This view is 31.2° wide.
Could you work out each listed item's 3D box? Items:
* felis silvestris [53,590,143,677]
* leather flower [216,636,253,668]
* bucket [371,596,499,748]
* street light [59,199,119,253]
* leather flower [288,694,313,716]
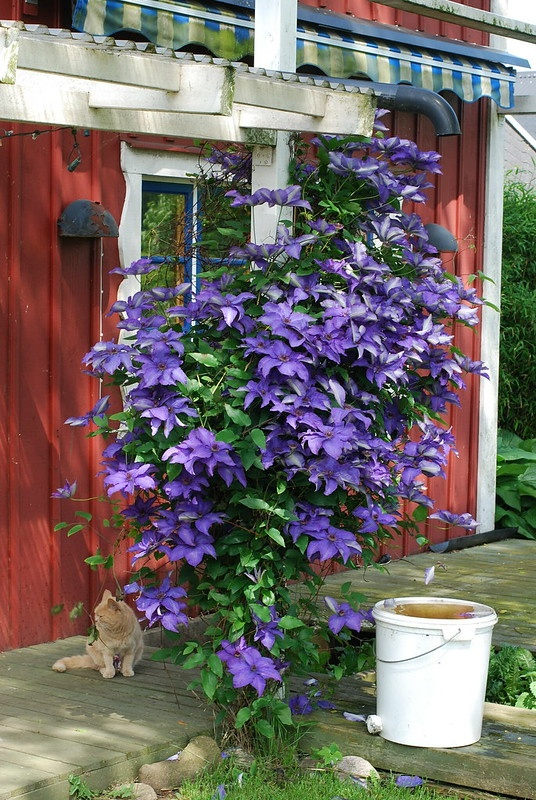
[{"bbox_3d":[-0.684,0.990,4.178,0.449,0.369,0.516,-1,8,-16],"label":"felis silvestris"},{"bbox_3d":[-0.108,0.777,2.957,0.092,0.019,0.083,14,45,35],"label":"leather flower"},{"bbox_3d":[0.532,0.901,3.315,0.515,0.412,0.452,2,-1,-38],"label":"bucket"},{"bbox_3d":[-0.819,-0.836,4.486,0.176,0.181,0.240,11,13,39],"label":"street light"},{"bbox_3d":[0.118,1.091,3.428,0.078,0.033,0.119,0,8,0],"label":"leather flower"}]
